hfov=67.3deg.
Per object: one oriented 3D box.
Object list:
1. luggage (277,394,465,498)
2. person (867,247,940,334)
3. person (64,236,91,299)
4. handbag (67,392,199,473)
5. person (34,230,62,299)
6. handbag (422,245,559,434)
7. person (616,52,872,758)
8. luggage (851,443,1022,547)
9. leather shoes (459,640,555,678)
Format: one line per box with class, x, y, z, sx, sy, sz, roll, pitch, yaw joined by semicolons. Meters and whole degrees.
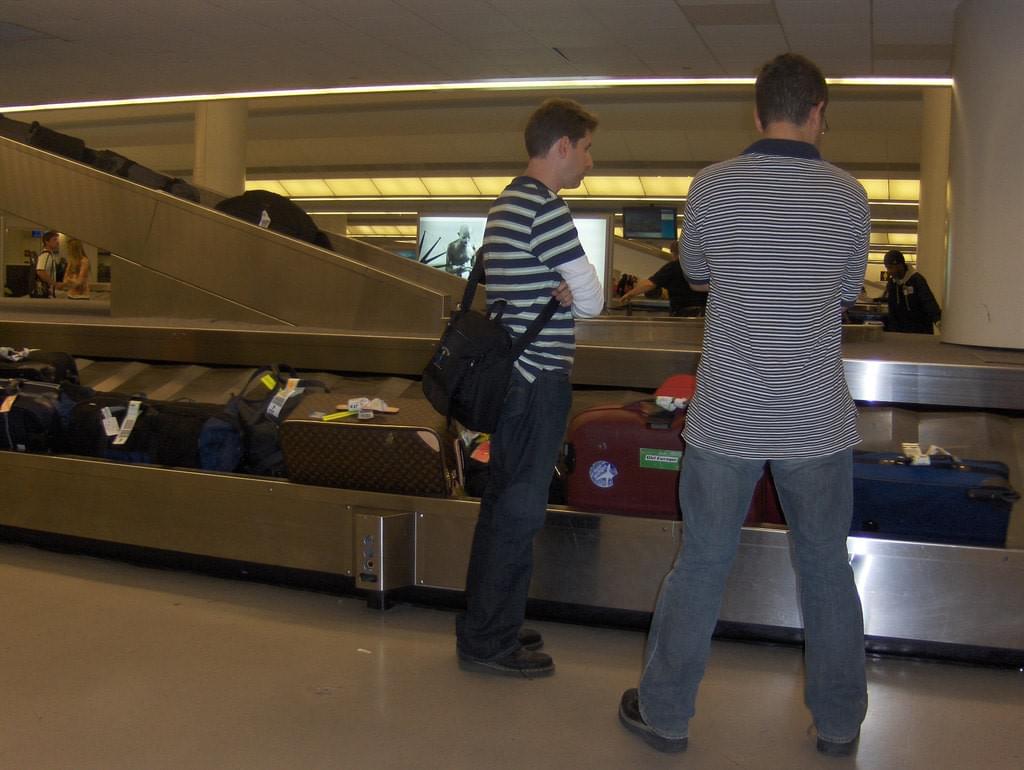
luggage;-0.584;0.249;3.214;0.752;0.335;0.340;3;9;12
person;4.364;-1.012;8.395;0.525;0.853;0.975;5;10;26
person;-6.007;-1.597;10.599;0.325;0.790;1.614;-4;11;-30
handbag;-1.758;0.231;3.596;0.533;0.178;0.337;11;29;0
person;-7.415;-1.929;12.284;0.341;1.053;2.965;-5;11;-31
handbag;-0.074;-0.143;2.621;0.432;0.606;0.265;-2;9;-15
person;0.700;0.064;2.208;0.700;1.963;0.323;1;9;2
luggage;1.483;0.406;2.733;0.428;0.332;0.158;2;16;14
leather shoes;-0.026;0.908;2.620;0.261;0.098;0.131;0;1;-1
